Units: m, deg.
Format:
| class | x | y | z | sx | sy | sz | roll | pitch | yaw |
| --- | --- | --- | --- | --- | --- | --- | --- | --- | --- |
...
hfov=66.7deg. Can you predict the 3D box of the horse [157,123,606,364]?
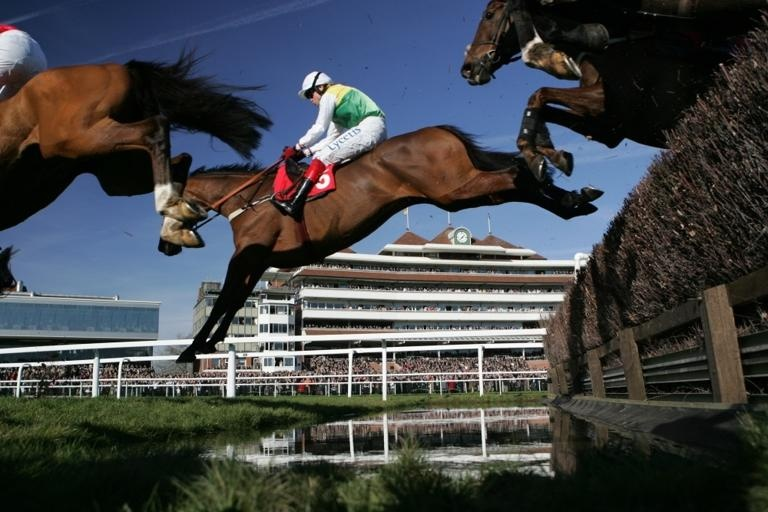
| class | x | y | z | sx | sy | sz | roll | pitch | yaw |
| --- | --- | --- | --- | --- | --- | --- | --- | --- | --- |
| horse | -0.269 | -0.420 | 5.776 | 4.889 | 1.837 | 0.751 | -15 | -16 | 16 |
